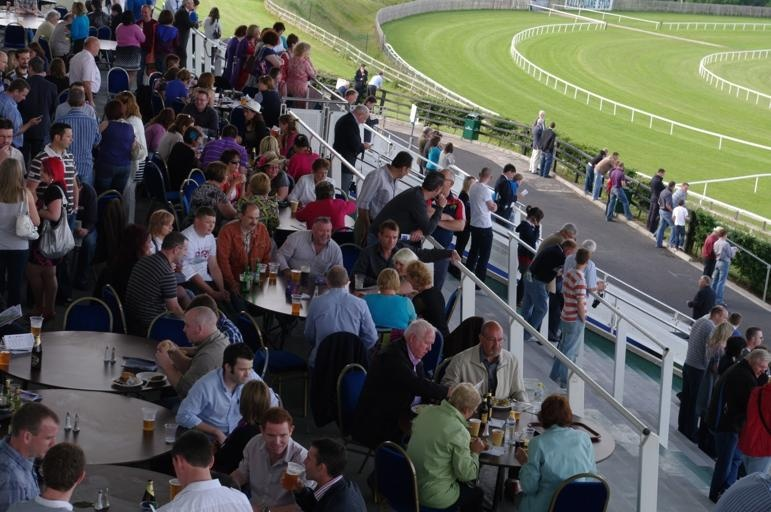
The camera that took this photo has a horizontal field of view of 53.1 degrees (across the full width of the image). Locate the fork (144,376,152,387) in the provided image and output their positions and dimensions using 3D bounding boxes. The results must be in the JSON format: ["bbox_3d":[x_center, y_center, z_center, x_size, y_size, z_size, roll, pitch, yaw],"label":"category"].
[{"bbox_3d":[-2.366,1.249,7.672,0.057,0.022,0.057,-19,34,-36],"label":"fork"}]

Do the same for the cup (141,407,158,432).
[{"bbox_3d":[-2.196,1.507,7.172,0.136,0.179,0.241,9,7,-16],"label":"cup"}]

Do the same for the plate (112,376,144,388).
[{"bbox_3d":[-2.540,1.245,7.609,0.161,0.071,0.161,2,1,-38],"label":"plate"}]

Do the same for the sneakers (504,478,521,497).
[{"bbox_3d":[1.380,2.523,8.401,0.100,0.134,0.292,0,10,-12],"label":"sneakers"}]

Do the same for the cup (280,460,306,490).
[{"bbox_3d":[-0.795,1.904,6.775,0.206,0.224,0.198,27,1,-1],"label":"cup"}]

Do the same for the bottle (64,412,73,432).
[{"bbox_3d":[-2.895,1.480,7.049,0.061,0.170,0.222,8,7,-25],"label":"bottle"}]

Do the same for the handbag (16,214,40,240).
[{"bbox_3d":[-4.231,-0.352,9.102,0.228,0.267,0.134,5,12,10],"label":"handbag"}]

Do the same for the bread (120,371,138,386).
[{"bbox_3d":[-2.535,1.212,7.615,0.106,0.071,0.146,11,4,-15],"label":"bread"}]

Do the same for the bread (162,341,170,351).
[{"bbox_3d":[-2.216,0.908,7.756,0.064,0.084,0.022,43,-11,-14],"label":"bread"}]

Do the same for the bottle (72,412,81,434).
[{"bbox_3d":[-2.820,1.508,7.053,0.066,0.142,0.240,8,7,-22],"label":"bottle"}]

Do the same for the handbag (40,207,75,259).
[{"bbox_3d":[-4.065,-0.259,9.573,0.347,0.735,0.319,7,3,-10],"label":"handbag"}]

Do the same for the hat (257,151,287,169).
[{"bbox_3d":[-1.815,-1.525,12.223,0.336,0.147,0.378,0,-5,-5],"label":"hat"}]
